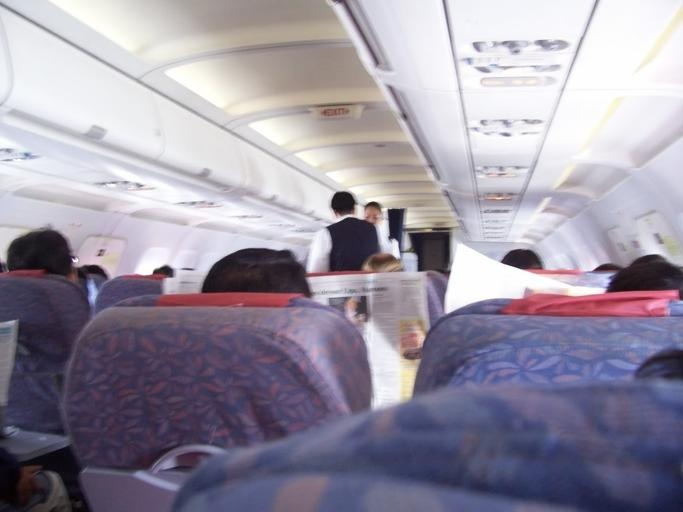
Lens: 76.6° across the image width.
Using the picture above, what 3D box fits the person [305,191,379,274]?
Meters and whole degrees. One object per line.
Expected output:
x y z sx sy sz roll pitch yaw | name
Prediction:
0.066 -0.222 3.955 0.687 0.768 0.367 5 -10 -15 | person

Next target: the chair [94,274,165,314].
-0.950 0.149 1.965 0.282 0.103 0.255 2 1 10 | chair

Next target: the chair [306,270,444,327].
0.123 0.162 1.644 0.294 0.120 0.357 -1 5 7 | chair
